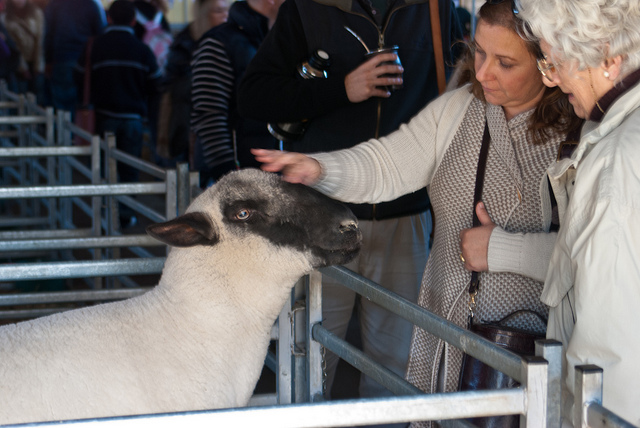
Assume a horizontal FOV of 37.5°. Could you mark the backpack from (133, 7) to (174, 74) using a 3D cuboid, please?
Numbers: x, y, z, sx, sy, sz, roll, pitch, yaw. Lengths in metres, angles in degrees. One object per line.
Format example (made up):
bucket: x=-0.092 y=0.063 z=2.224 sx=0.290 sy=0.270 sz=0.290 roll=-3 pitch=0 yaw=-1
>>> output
backpack: x=-1.629 y=-1.677 z=9.232 sx=0.320 sy=0.693 sz=0.458 roll=-5 pitch=29 yaw=-3

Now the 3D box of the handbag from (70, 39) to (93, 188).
handbag: x=-2.310 y=-0.994 z=9.378 sx=0.276 sy=1.384 sz=0.144 roll=9 pitch=7 yaw=32

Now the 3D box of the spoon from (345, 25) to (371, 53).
spoon: x=0.218 y=-1.003 z=5.373 sx=0.019 sy=0.177 sz=0.030 roll=-38 pitch=5 yaw=-18

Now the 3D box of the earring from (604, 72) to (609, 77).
earring: x=1.226 y=-0.600 z=4.058 sx=0.018 sy=0.020 sz=0.005 roll=1 pitch=16 yaw=12

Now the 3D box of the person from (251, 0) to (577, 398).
person: x=0.471 y=-0.123 z=4.747 sx=1.327 sy=2.726 sz=1.132 roll=12 pitch=30 yaw=41

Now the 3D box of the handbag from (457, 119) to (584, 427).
handbag: x=0.909 y=0.342 z=4.457 sx=0.535 sy=1.426 sz=0.872 roll=2 pitch=17 yaw=14

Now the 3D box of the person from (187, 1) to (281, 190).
person: x=-0.568 y=-0.841 z=6.462 sx=0.374 sy=1.044 sz=1.255 roll=18 pitch=27 yaw=14

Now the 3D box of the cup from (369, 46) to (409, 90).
cup: x=0.399 y=-0.805 z=5.361 sx=0.209 sy=0.308 sz=0.219 roll=-13 pitch=6 yaw=1

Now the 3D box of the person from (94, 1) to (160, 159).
person: x=-1.823 y=-1.272 z=9.110 sx=0.665 sy=1.552 sz=0.530 roll=0 pitch=16 yaw=7

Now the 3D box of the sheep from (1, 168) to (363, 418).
sheep: x=-0.566 y=0.264 z=4.834 sx=1.675 sy=1.390 sz=0.845 roll=-7 pitch=12 yaw=-9
